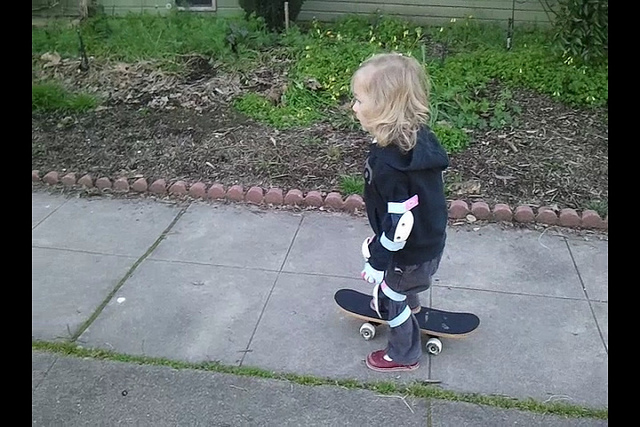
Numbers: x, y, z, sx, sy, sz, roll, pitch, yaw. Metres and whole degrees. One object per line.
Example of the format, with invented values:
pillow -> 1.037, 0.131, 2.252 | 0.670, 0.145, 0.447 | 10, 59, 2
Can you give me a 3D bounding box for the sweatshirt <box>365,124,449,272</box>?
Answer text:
sweatshirt -> 0.547, -0.091, 3.483 | 0.499, 0.765, 0.799 | 14, 37, 28
